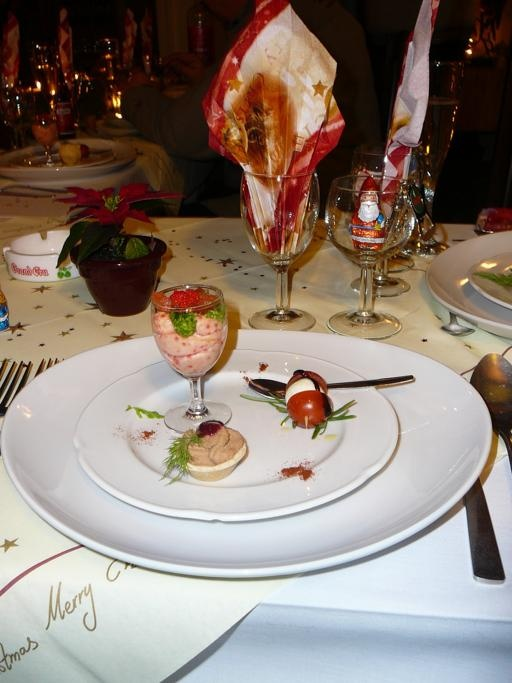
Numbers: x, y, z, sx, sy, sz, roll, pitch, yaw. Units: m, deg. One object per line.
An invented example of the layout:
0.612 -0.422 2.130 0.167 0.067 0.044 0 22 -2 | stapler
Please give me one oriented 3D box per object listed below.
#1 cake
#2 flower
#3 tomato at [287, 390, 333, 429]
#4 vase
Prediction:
-0.044 0.098 0.478 0.046 0.023 0.057 32 43 32 | cake
-0.216 -0.179 0.881 0.208 0.092 0.192 19 39 30 | flower
0.051 0.065 0.518 0.037 0.025 0.039 -12 14 -39 | tomato
-0.198 -0.091 0.818 0.135 0.090 0.130 -10 31 -18 | vase
